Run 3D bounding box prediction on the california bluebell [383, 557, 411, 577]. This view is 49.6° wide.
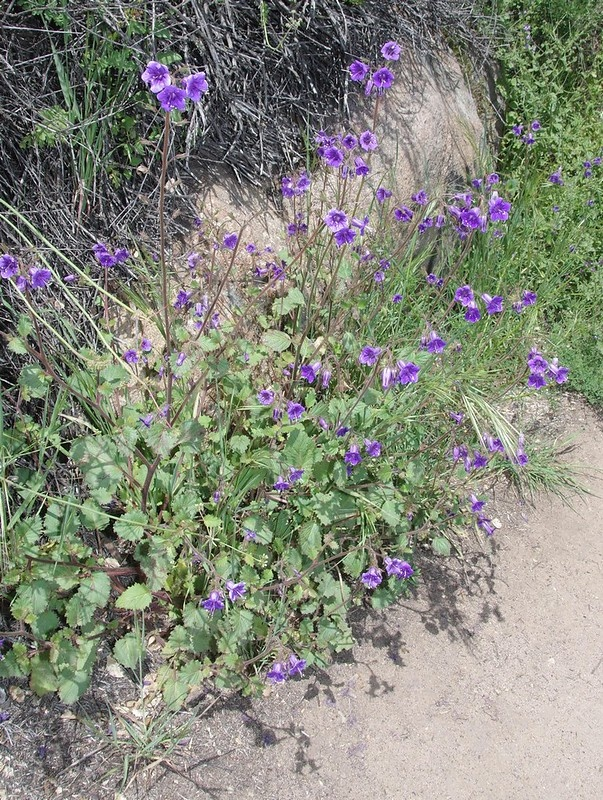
[{"bbox_3d":[0.369,0.636,2.493,0.058,0.106,0.068,41,80,-11],"label":"california bluebell"}]

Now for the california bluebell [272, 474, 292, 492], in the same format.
[{"bbox_3d":[-0.070,0.317,2.452,0.063,0.027,0.064,26,83,16],"label":"california bluebell"}]

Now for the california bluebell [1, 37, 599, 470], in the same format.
[{"bbox_3d":[0.115,-0.969,3.413,2.297,0.857,2.856,28,57,26],"label":"california bluebell"}]
